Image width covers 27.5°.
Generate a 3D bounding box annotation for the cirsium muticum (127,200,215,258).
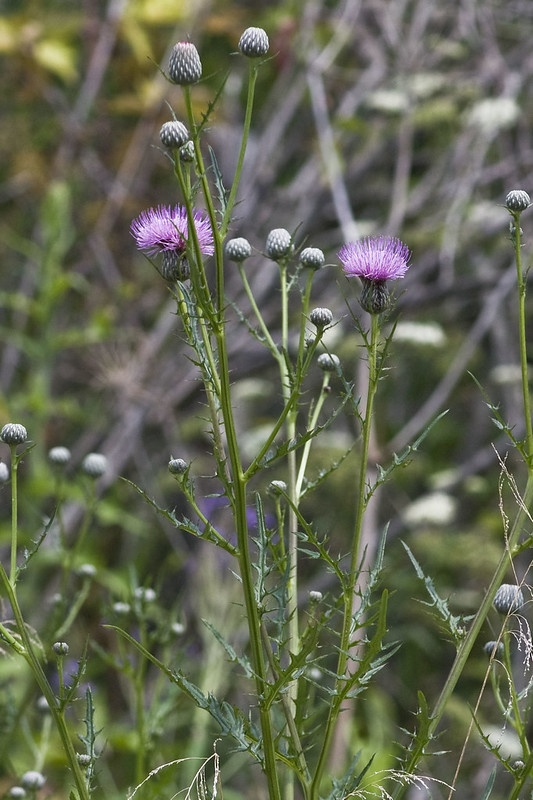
[{"bbox_3d":[-0.153,-0.277,1.755,0.121,0.067,0.122,21,33,38],"label":"cirsium muticum"}]
